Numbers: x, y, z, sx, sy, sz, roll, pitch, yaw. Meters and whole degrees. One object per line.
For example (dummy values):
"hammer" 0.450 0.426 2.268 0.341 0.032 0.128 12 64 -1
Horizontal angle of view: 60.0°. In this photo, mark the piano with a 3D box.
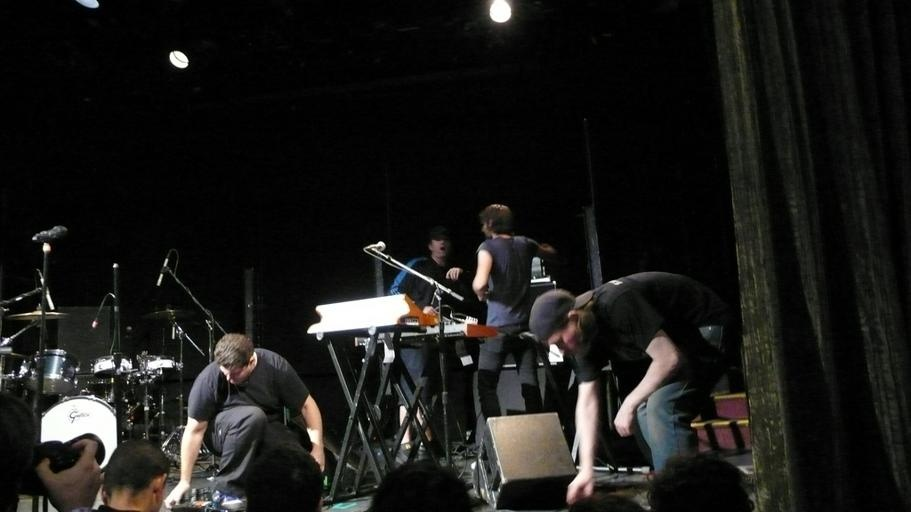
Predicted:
"piano" -0.507 0.531 6.800 1.459 0.344 0.382 -1 -14 -10

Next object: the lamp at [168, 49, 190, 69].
"lamp" -3.020 -2.169 8.698 0.263 0.077 0.260 -16 -19 42

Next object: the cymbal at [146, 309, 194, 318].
"cymbal" -3.452 0.705 9.600 0.260 0.097 0.260 2 -9 -31

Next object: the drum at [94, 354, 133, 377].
"drum" -3.618 1.172 8.354 0.455 0.162 0.483 -1 -3 0

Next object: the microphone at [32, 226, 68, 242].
"microphone" -4.218 -0.242 8.177 0.251 0.158 0.423 3 6 30

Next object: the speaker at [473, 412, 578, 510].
"speaker" 0.505 1.593 6.161 0.807 0.700 0.756 -1 -11 2

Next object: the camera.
"camera" -2.481 1.260 5.100 0.268 0.159 0.461 -5 5 6
